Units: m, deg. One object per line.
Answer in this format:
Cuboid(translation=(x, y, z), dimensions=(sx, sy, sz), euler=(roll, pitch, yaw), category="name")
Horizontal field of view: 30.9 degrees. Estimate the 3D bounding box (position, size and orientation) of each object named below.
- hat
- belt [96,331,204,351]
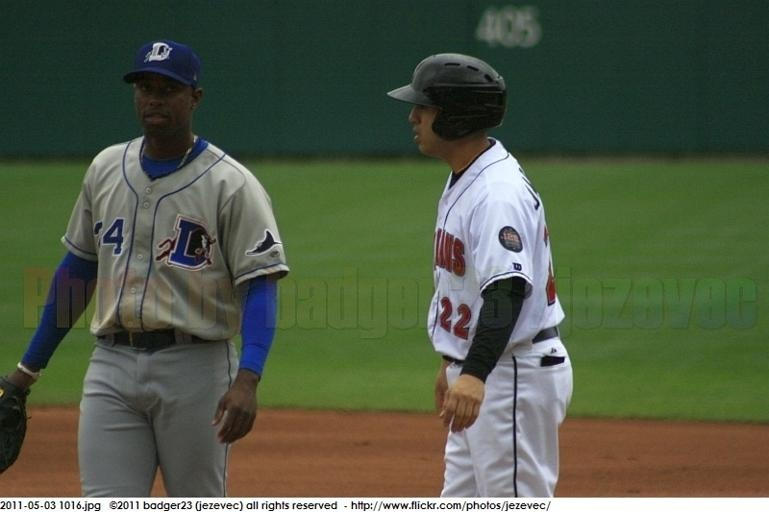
Cuboid(translation=(-1.537, -1.343, 9.814), dimensions=(0.520, 0.317, 0.640), euler=(5, 0, -8), category="hat")
Cuboid(translation=(-1.600, 0.587, 9.652), dimensions=(0.740, 0.153, 0.073), euler=(2, 0, 5), category="belt")
